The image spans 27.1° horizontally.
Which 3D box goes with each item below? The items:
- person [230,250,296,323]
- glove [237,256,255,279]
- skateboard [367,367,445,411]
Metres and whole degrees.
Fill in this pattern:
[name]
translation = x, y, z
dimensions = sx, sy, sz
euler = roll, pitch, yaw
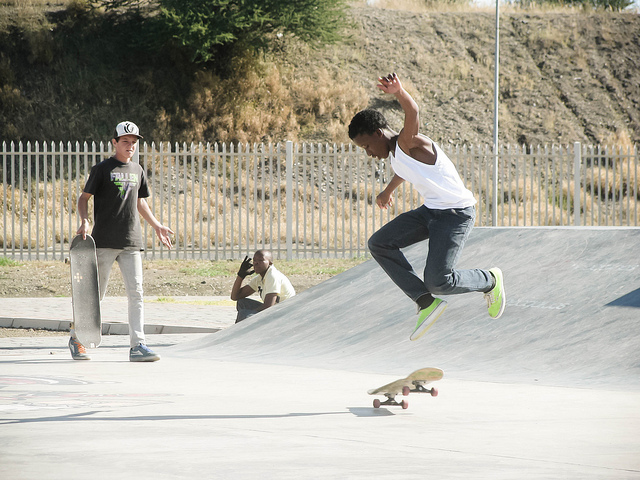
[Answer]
[person]
translation = -1.029, 0.785, 23.574
dimensions = 0.739, 1.378, 1.157
euler = -9, 14, -42
[glove]
translation = -1.327, 0.464, 23.755
dimensions = 0.248, 0.395, 0.334
euler = 0, 10, -2
[skateboard]
translation = 1.267, 2.267, 20.193
dimensions = 0.482, 0.315, 1.615
euler = 13, -25, -32
